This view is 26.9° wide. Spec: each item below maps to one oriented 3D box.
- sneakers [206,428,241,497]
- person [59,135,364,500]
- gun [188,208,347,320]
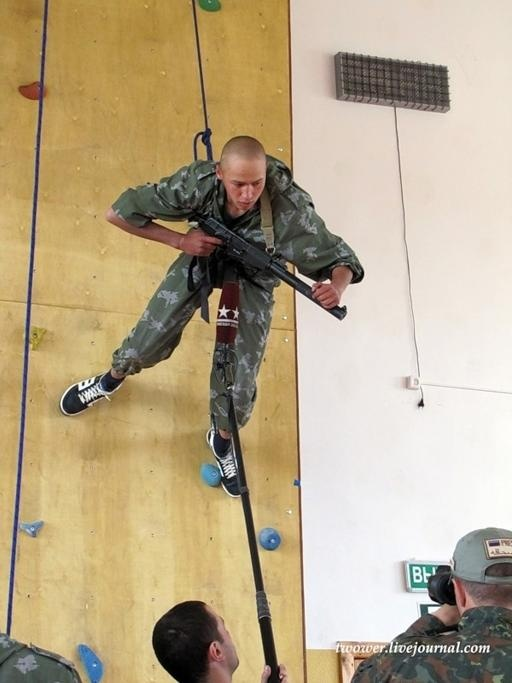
[{"bbox_3d":[-0.170,0.534,4.517,0.105,0.335,0.135,-19,-1,-13],"label":"sneakers"},{"bbox_3d":[-0.165,-0.155,4.260,1.173,1.505,0.604,23,34,17],"label":"person"},{"bbox_3d":[0.028,-0.293,4.084,0.641,0.050,0.191,36,-22,6],"label":"gun"}]
